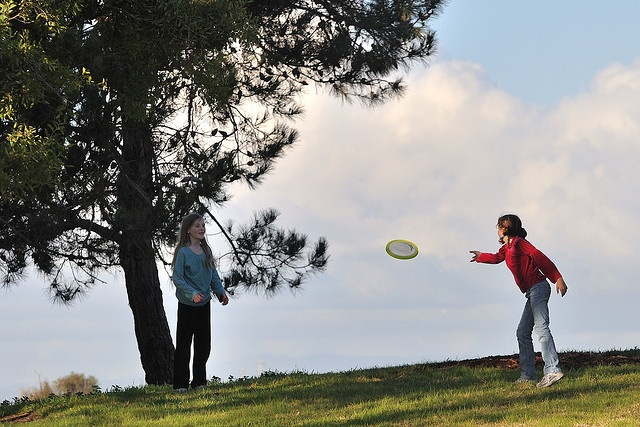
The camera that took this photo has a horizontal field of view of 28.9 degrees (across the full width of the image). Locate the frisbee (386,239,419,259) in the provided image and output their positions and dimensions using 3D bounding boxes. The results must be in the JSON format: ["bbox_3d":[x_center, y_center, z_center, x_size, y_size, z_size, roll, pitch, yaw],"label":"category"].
[{"bbox_3d":[1.482,0.681,22.461,0.529,0.309,0.331,-3,9,3],"label":"frisbee"}]

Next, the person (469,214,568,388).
[{"bbox_3d":[3.535,1.491,21.063,0.634,2.841,1.310,-10,11,-37],"label":"person"}]

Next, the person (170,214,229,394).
[{"bbox_3d":[-2.158,1.620,21.851,0.967,3.124,0.636,-6,9,-19],"label":"person"}]
